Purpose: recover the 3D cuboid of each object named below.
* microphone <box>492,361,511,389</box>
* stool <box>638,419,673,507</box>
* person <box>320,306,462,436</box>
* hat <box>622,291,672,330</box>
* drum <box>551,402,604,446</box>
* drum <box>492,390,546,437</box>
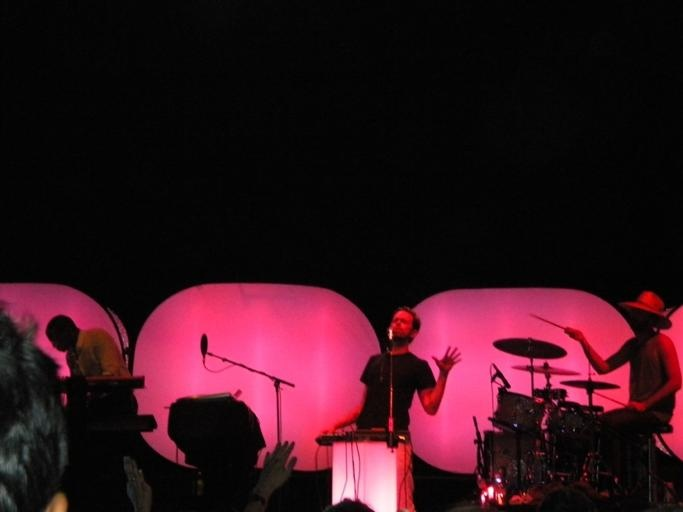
[{"bbox_3d":[1.561,1.187,7.486,0.167,0.310,0.462,-3,-18,11],"label":"microphone"},{"bbox_3d":[2.798,1.848,6.681,0.242,0.654,1.116,-6,-19,21],"label":"stool"},{"bbox_3d":[0.485,1.153,7.264,0.966,1.499,0.560,2,-42,19],"label":"person"},{"bbox_3d":[3.096,0.518,7.653,0.491,0.311,0.558,5,2,15],"label":"hat"},{"bbox_3d":[2.118,1.542,6.913,0.319,0.407,0.397,13,-18,-38],"label":"drum"},{"bbox_3d":[1.658,1.463,7.087,0.349,0.268,0.385,11,-9,2],"label":"drum"}]
